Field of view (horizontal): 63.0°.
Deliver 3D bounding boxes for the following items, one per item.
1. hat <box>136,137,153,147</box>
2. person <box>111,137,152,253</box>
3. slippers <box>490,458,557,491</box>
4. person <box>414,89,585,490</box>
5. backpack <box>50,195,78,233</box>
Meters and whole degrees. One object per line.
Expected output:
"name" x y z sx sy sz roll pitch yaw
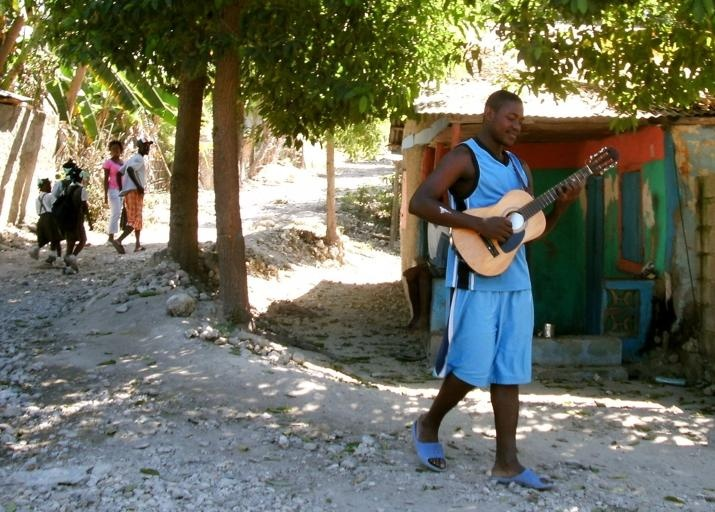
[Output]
"hat" -3.614 -1.957 10.046 0.235 0.093 0.161 -3 4 -37
"person" -4.094 -1.085 10.759 0.677 2.139 1.472 -2 12 -20
"slippers" 1.118 1.501 3.978 0.362 0.120 0.145 1 17 13
"person" 0.859 0.208 4.054 0.983 2.659 0.740 3 11 5
"backpack" -4.828 -0.660 9.715 0.375 0.680 0.156 4 11 8
